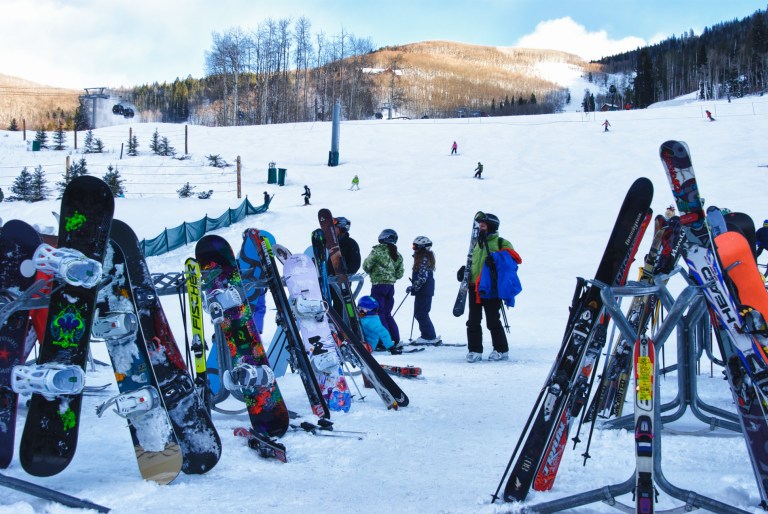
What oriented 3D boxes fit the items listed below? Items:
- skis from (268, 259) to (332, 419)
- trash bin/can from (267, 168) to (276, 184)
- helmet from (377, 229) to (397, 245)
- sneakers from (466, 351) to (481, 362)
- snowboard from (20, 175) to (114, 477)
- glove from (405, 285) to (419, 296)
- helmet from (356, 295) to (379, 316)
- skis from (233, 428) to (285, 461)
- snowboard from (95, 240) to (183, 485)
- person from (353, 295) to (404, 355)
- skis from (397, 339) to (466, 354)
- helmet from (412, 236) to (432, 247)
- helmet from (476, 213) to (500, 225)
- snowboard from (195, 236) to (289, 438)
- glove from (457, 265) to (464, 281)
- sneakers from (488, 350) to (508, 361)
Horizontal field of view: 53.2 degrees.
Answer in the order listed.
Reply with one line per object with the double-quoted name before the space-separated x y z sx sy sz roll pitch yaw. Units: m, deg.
"skis" -0.710 0.704 6.594 0.138 1.367 0.100 -19 -3 3
"trash bin/can" -3.659 -2.686 25.065 0.308 0.493 0.352 -3 6 -10
"helmet" 0.043 -0.283 9.431 0.179 0.178 0.221 2 -11 -7
"sneakers" 0.986 1.072 8.345 0.195 0.094 0.163 -4 6 -11
"snowboard" -2.168 0.445 5.389 0.474 2.447 0.335 6 -7 -12
"glove" 0.354 0.396 9.492 0.172 0.103 0.255 1 -25 4
"helmet" -0.180 0.577 8.554 0.167 0.228 0.211 -16 32 46
"skis" -0.958 1.410 5.854 0.149 0.091 0.548 -16 30 -37
"snowboard" -1.649 0.658 5.427 0.443 2.270 0.318 -3 24 -2
"person" -0.154 0.727 8.767 0.292 0.538 1.003 -11 11 -16
"skis" 0.606 1.082 9.374 0.869 0.160 0.262 4 18 -2
"helmet" 0.474 -0.198 9.282 0.185 0.151 0.146 6 4 -8
"helmet" 1.161 -0.444 8.583 0.196 0.117 0.156 4 5 2
"snowboard" -1.138 0.590 6.153 0.472 2.143 0.308 -13 -4 -27
"glove" 0.896 0.175 9.032 0.033 0.150 0.111 14 4 16
"sneakers" 1.241 1.067 8.376 0.092 0.098 0.199 -3 -9 27
